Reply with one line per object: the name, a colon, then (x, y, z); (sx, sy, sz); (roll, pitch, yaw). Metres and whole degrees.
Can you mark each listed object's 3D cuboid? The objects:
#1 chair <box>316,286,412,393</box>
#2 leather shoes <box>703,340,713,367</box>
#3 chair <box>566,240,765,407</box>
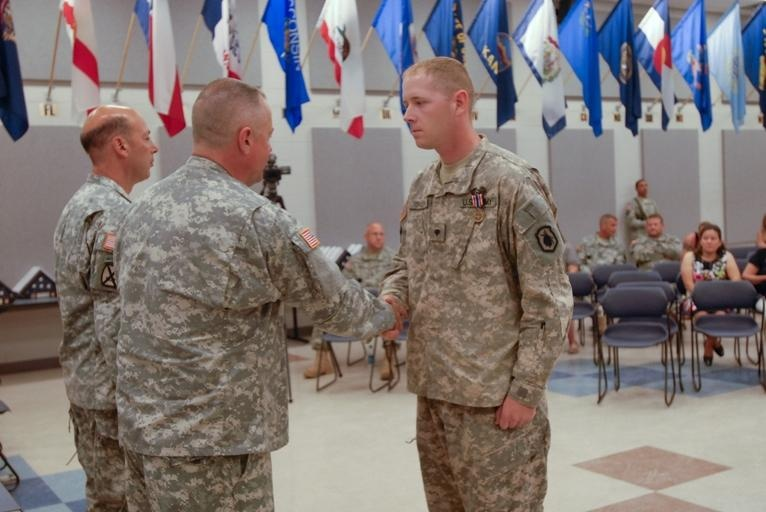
chair: (-0.146, 1.089, 10.122); (1.154, 1.683, 1.227); (0, -11, 15)
leather shoes: (4.015, 1.184, 10.142); (0.109, 0.359, 0.151); (-3, -35, 33)
chair: (3.250, 0.915, 9.446); (2.077, 1.234, 1.535); (-6, 12, -25)
